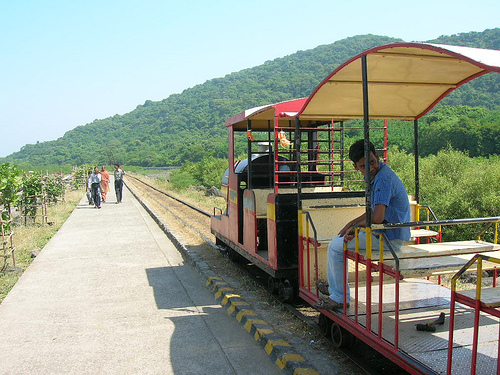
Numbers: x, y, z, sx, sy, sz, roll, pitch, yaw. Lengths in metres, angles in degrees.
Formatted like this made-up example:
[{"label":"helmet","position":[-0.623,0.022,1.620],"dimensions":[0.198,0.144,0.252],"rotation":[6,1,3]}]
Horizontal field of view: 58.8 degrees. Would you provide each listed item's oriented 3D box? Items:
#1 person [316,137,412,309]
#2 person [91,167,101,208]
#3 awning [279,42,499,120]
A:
[{"label":"person","position":[1.571,0.550,6.108],"dimensions":[1.191,2.483,1.120],"rotation":[1,7,19]},{"label":"person","position":[-7.611,0.007,21.991],"dimensions":[0.444,2.029,0.704],"rotation":[-4,7,-21]},{"label":"awning","position":[2.041,-1.550,6.511],"dimensions":[1.522,0.432,2.361],"rotation":[0,4,-27]}]
